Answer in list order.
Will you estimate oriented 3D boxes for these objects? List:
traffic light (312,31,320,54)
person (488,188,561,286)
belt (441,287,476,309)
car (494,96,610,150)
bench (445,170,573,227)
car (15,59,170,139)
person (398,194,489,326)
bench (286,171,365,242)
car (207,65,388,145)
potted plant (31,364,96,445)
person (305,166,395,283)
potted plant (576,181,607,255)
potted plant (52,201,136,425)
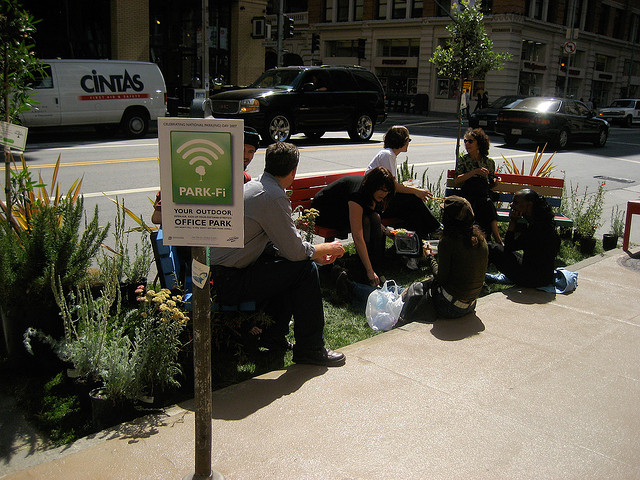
[{"bbox_3d":[-0.306,-12.235,30.563,0.385,0.951,1.356,-1,15,-6],"label":"traffic light"},{"bbox_3d":[2.517,-0.020,6.008,0.760,1.143,0.517,13,18,41],"label":"person"},{"bbox_3d":[1.325,0.590,4.880,0.197,0.050,0.199,37,21,30],"label":"belt"},{"bbox_3d":[9.727,-4.846,20.597,4.830,2.033,1.563,-6,15,-24],"label":"car"},{"bbox_3d":[2.955,-0.581,7.709,1.953,0.769,1.972,6,15,17],"label":"bench"},{"bbox_3d":[-8.361,-5.251,17.410,5.433,2.711,2.494,-13,39,-37],"label":"car"},{"bbox_3d":[1.233,0.263,4.898,0.752,1.284,0.314,8,15,26],"label":"person"},{"bbox_3d":[0.103,-0.403,6.972,0.541,0.771,1.628,38,36,30],"label":"bench"},{"bbox_3d":[-0.539,-4.984,18.046,6.538,2.780,1.549,-10,17,-36],"label":"car"},{"bbox_3d":[-1.875,1.220,3.640,0.446,0.419,0.530,2,6,-3],"label":"potted plant"},{"bbox_3d":[0.365,-0.149,5.741,0.455,0.848,1.153,18,22,23],"label":"person"},{"bbox_3d":[4.485,-0.389,8.201,0.317,0.979,1.369,8,16,28],"label":"potted plant"},{"bbox_3d":[-1.525,0.699,3.496,0.473,1.380,0.366,8,20,13],"label":"potted plant"}]
